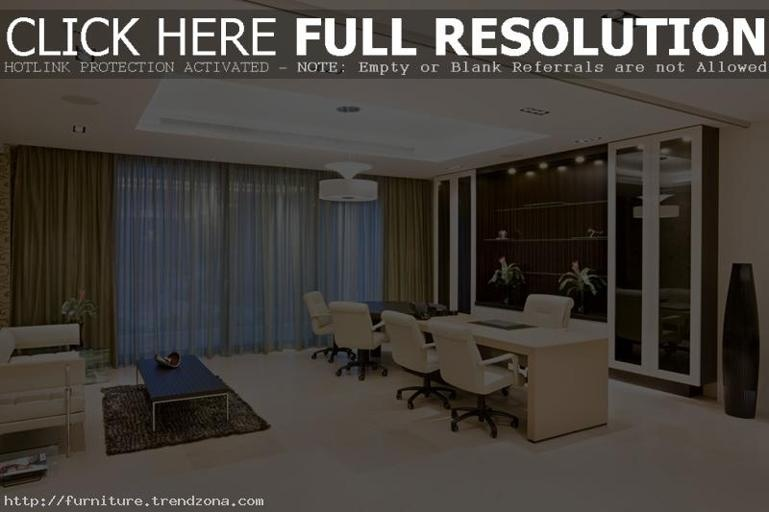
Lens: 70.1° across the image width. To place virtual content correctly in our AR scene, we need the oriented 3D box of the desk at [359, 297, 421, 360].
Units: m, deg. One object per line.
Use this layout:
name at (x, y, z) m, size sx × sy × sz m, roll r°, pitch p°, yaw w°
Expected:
desk at (0.083, 1.246, 8.701) m, size 0.749 × 0.583 × 1.155 m, roll -1°, pitch -1°, yaw 11°

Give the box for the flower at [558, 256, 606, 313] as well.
flower at (2.928, 0.472, 8.247) m, size 0.576 × 0.721 × 0.686 m, roll 1°, pitch 4°, yaw 13°

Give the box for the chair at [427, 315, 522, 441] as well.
chair at (1.075, 1.392, 6.400) m, size 0.861 × 1.315 × 0.921 m, roll -4°, pitch 6°, yaw -19°

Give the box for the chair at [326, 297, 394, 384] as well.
chair at (-0.357, 1.190, 8.067) m, size 0.846 × 1.148 × 0.826 m, roll -4°, pitch 4°, yaw -22°

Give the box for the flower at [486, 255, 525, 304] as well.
flower at (2.064, 0.410, 9.355) m, size 0.647 × 0.884 × 0.659 m, roll 0°, pitch 3°, yaw -10°

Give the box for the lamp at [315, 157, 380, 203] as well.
lamp at (-0.511, -1.082, 8.223) m, size 0.696 × 0.427 × 0.710 m, roll 1°, pitch -1°, yaw -27°

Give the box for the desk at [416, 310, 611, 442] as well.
desk at (1.651, 1.319, 6.376) m, size 1.809 × 1.190 × 1.096 m, roll 5°, pitch 12°, yaw 25°

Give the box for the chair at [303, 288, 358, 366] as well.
chair at (-0.862, 1.109, 8.753) m, size 0.740 × 1.101 × 0.773 m, roll -4°, pitch 1°, yaw -2°

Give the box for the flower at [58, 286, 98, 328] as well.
flower at (-4.406, 0.720, 7.907) m, size 0.521 × 0.575 × 0.535 m, roll 5°, pitch 10°, yaw -10°

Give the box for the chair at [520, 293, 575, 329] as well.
chair at (2.204, 0.730, 7.403) m, size 0.496 × 0.673 × 0.465 m, roll 8°, pitch -4°, yaw -42°

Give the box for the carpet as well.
carpet at (-2.440, 1.888, 6.620) m, size 1.933 × 0.074 × 1.580 m, roll -3°, pitch 11°, yaw -17°

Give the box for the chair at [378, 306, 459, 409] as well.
chair at (0.370, 1.275, 7.326) m, size 1.089 × 1.382 × 0.996 m, roll 1°, pitch -1°, yaw -31°
